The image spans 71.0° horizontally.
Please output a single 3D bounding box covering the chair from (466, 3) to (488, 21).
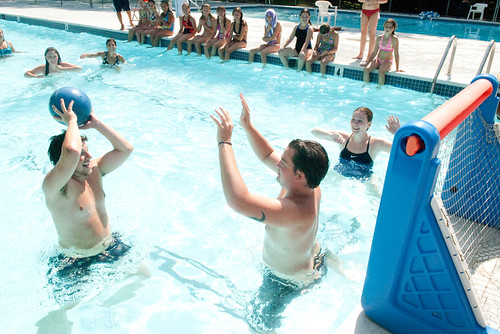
[{"bbox_3d":[11.459,-7.896,17.791,0.831,1.016,0.785,23,39,34],"label":"chair"}]

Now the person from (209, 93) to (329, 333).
[{"bbox_3d":[0.150,0.434,3.106,0.954,1.867,0.780,-21,35,-34],"label":"person"}]

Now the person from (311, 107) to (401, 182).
[{"bbox_3d":[1.506,-0.303,5.096,1.297,1.116,0.661,16,28,34],"label":"person"}]

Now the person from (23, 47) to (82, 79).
[{"bbox_3d":[-4.682,-2.488,8.422,1.290,0.608,0.768,-11,16,-25],"label":"person"}]

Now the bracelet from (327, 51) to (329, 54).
[{"bbox_3d":[2.014,-3.012,9.181,0.058,0.053,0.056,-12,70,-4],"label":"bracelet"}]
